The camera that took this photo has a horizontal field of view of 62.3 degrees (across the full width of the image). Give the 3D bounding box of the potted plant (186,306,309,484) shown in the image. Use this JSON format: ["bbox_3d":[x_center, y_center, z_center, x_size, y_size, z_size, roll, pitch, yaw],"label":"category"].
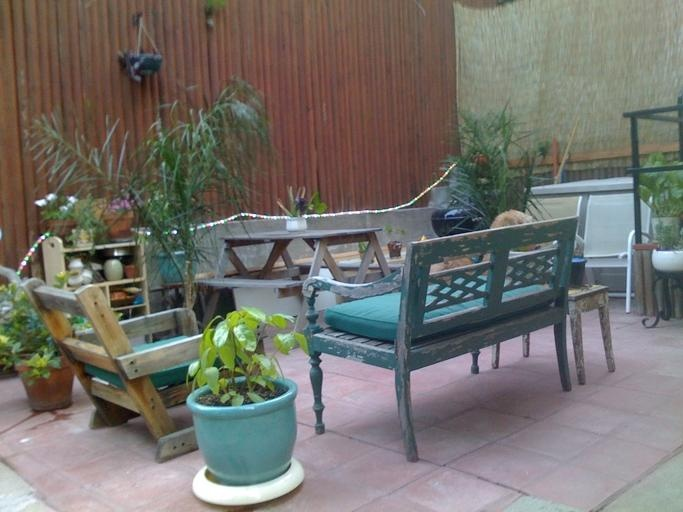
[{"bbox_3d":[-0.457,0.626,2.793,0.542,0.827,0.563,-2,10,7],"label":"potted plant"}]

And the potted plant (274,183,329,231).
[{"bbox_3d":[-0.512,-0.509,6.145,0.597,0.536,0.596,2,3,31],"label":"potted plant"}]

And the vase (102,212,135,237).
[{"bbox_3d":[-2.046,-0.281,5.199,0.192,0.209,0.252,1,3,10],"label":"vase"}]

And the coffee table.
[{"bbox_3d":[1.580,0.440,4.152,0.671,0.851,0.862,-2,-2,-37],"label":"coffee table"}]

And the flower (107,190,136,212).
[{"bbox_3d":[-1.947,-0.482,5.016,0.138,0.097,0.140,-35,-4,-26],"label":"flower"}]

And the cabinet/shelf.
[{"bbox_3d":[-1.968,0.127,4.487,0.744,0.784,0.247,-4,5,-36],"label":"cabinet/shelf"}]

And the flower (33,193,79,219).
[{"bbox_3d":[-2.530,-0.444,5.024,0.378,0.221,0.295,-7,10,-23],"label":"flower"}]

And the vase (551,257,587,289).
[{"bbox_3d":[1.479,0.112,3.699,0.190,0.250,0.167,-3,9,-11],"label":"vase"}]

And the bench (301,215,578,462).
[{"bbox_3d":[0.643,0.391,3.366,1.637,1.133,0.687,-8,11,-30],"label":"bench"}]

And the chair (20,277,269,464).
[{"bbox_3d":[-1.189,0.579,3.372,1.070,0.938,0.873,-3,5,-44],"label":"chair"}]

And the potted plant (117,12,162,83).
[{"bbox_3d":[-1.987,-2.067,5.562,0.429,0.694,0.351,-6,10,-20],"label":"potted plant"}]

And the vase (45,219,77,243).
[{"bbox_3d":[-2.469,-0.223,5.016,0.239,0.207,0.168,-6,10,-16],"label":"vase"}]
